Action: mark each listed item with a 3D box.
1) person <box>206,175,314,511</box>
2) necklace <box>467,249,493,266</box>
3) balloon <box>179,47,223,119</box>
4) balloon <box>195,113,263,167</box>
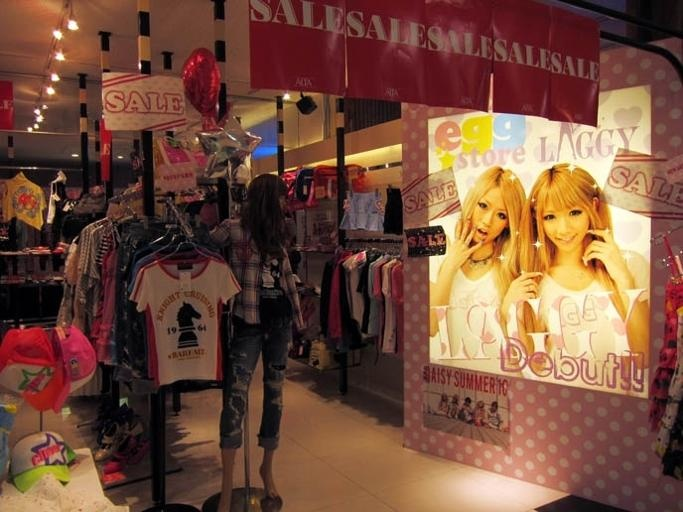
[{"bbox_3d":[-0.590,0.619,3.936,0.655,2.372,0.338,-2,5,-21],"label":"person"},{"bbox_3d":[1.137,0.036,4.515,0.189,0.099,0.006,2,5,27],"label":"necklace"},{"bbox_3d":[-1.168,-1.448,4.673,0.371,0.592,0.275,-4,6,-30],"label":"balloon"},{"bbox_3d":[-0.862,-0.888,4.239,0.470,0.386,0.342,-4,6,-31],"label":"balloon"}]
